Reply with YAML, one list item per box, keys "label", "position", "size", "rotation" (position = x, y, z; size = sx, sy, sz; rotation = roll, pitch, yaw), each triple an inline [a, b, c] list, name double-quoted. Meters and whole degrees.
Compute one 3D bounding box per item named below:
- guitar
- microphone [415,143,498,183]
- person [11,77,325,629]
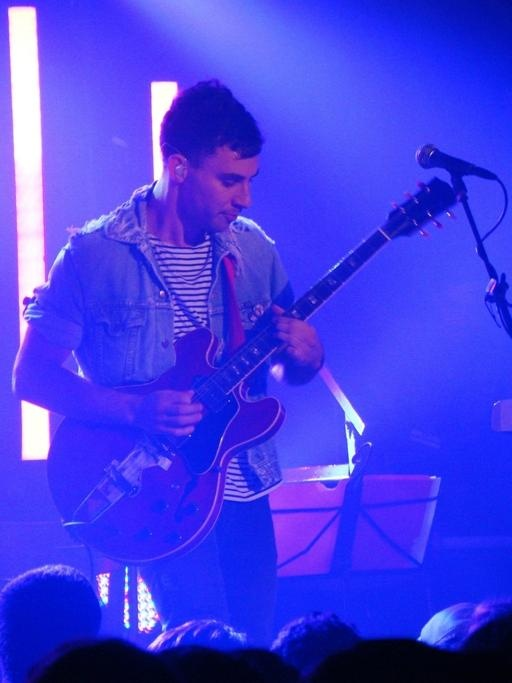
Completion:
- label: "guitar"
  position: [0.052, -0.025, 2.203]
  size: [1.684, 0.604, 0.229]
  rotation: [-50, -2, -18]
- label: "microphone"
  position: [0.578, -0.521, 2.073]
  size: [0.207, 0.116, 0.176]
  rotation: [-12, 11, -34]
- label: "person"
  position: [-0.277, 0.351, 2.034]
  size: [0.699, 1.979, 0.450]
  rotation: [0, 8, -16]
